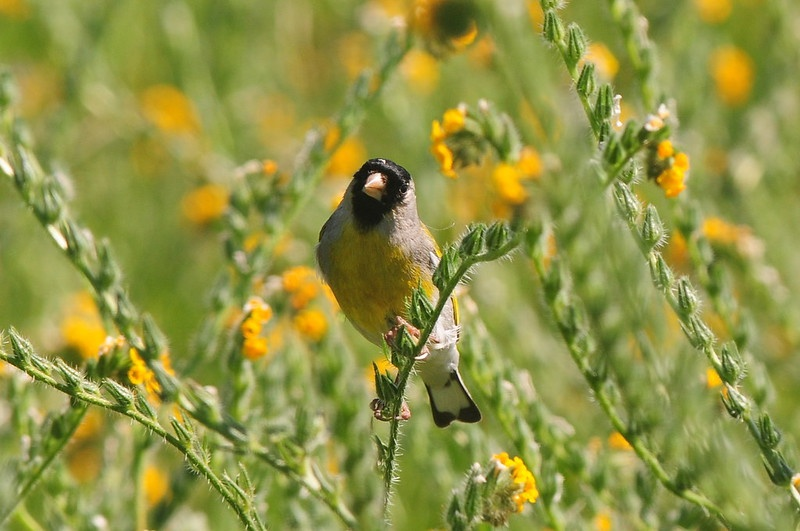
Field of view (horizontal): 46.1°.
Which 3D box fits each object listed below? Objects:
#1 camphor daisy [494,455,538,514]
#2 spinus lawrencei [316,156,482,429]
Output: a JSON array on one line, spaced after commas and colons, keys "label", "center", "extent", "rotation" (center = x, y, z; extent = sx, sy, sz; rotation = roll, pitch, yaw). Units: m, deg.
[{"label": "camphor daisy", "center": [0.486, 0.863, 3.758], "extent": [0.124, 0.232, 0.368], "rotation": [-12, -28, 14]}, {"label": "spinus lawrencei", "center": [-0.027, -0.016, 4.545], "extent": [0.635, 1.483, 0.909], "rotation": [-1, 12, 12]}]
